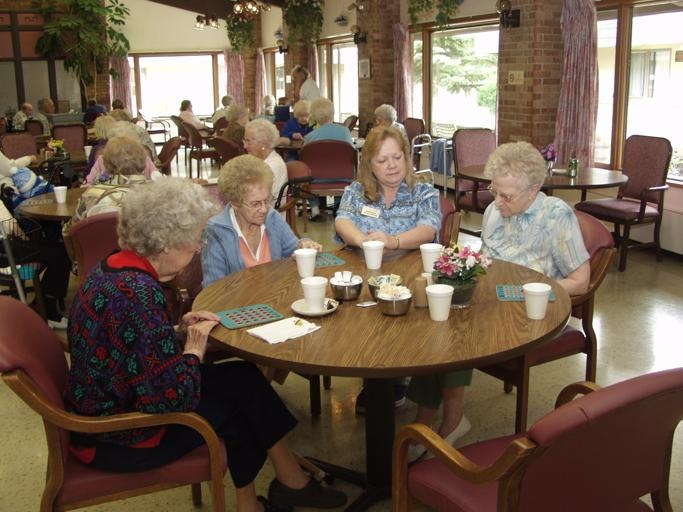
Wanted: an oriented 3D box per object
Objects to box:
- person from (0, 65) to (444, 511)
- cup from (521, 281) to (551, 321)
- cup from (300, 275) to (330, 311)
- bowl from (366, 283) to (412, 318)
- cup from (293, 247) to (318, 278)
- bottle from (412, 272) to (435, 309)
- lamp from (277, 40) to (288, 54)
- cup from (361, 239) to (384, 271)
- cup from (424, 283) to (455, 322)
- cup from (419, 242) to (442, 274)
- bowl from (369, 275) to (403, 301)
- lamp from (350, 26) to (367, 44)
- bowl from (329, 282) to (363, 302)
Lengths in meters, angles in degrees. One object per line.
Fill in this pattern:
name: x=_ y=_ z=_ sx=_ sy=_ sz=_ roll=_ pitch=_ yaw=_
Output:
person: x=-0.469 y=0.116 z=2.487 sx=0.928 sy=1.846 sz=1.072 roll=-9 pitch=14 yaw=-36
cup: x=0.681 y=0.157 z=1.978 sx=0.114 sy=0.120 sz=0.115 roll=-1 pitch=5 yaw=0
cup: x=-0.095 y=0.136 z=2.016 sx=0.107 sy=0.124 sz=0.108 roll=-2 pitch=13 yaw=0
bowl: x=0.189 y=0.156 z=1.957 sx=0.108 sy=0.066 sz=0.112 roll=-2 pitch=7 yaw=0
cup: x=-0.149 y=0.026 z=2.390 sx=0.109 sy=0.121 sz=0.113 roll=-2 pitch=9 yaw=0
bottle: x=0.286 y=0.129 z=2.051 sx=0.062 sy=0.117 sz=0.120 roll=-1 pitch=8 yaw=5
lamp: x=-1.437 y=-5.097 z=13.501 sx=0.170 sy=0.338 sz=0.720 roll=-5 pitch=16 yaw=-14
cup: x=0.142 y=-0.003 z=2.499 sx=0.112 sy=0.126 sz=0.115 roll=-1 pitch=15 yaw=0
cup: x=0.343 y=0.163 z=1.971 sx=0.110 sy=0.120 sz=0.113 roll=-1 pitch=12 yaw=0
cup: x=0.374 y=0.004 z=2.314 sx=0.105 sy=0.107 sz=0.106 roll=1 pitch=13 yaw=0
bowl: x=0.170 y=0.108 z=2.070 sx=0.099 sy=0.063 sz=0.102 roll=-1 pitch=5 yaw=0
lamp: x=0.307 y=-3.802 z=9.514 sx=0.190 sy=0.313 sz=0.315 roll=-6 pitch=16 yaw=-14
bowl: x=0.020 y=0.138 z=2.112 sx=0.081 sy=0.043 sz=0.082 roll=0 pitch=9 yaw=0
